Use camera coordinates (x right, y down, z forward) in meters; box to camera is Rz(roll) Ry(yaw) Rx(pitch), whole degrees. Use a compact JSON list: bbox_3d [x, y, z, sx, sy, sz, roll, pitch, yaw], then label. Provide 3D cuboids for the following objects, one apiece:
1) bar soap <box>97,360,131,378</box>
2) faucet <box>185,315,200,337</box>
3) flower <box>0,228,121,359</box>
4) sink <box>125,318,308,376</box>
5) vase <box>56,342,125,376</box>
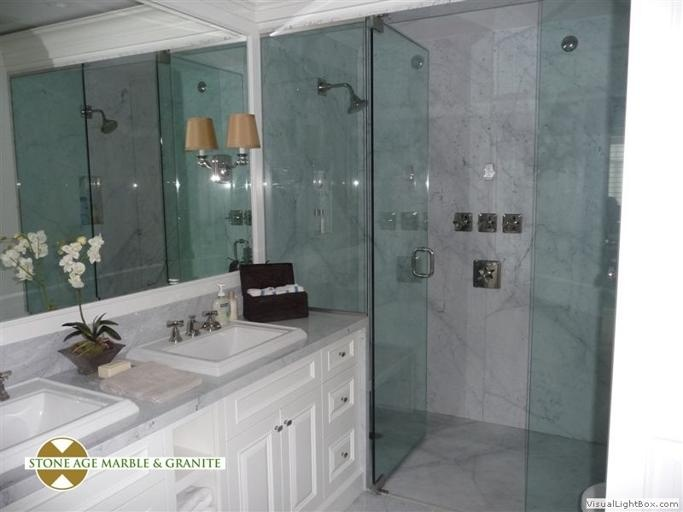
[{"bbox_3d":[-0.967,0.474,2.364,0.113,0.046,0.129,1,9,31],"label":"bar soap"},{"bbox_3d":[-0.742,0.356,2.851,0.094,0.097,0.097,-2,1,-27],"label":"faucet"},{"bbox_3d":[-1.211,0.164,2.365,0.563,0.672,0.312,1,6,-5],"label":"flower"},{"bbox_3d":[-0.582,0.459,2.706,0.563,0.144,0.690,1,9,33],"label":"sink"},{"bbox_3d":[-1.042,0.413,2.348,0.166,0.074,0.146,0,-1,43],"label":"vase"}]
